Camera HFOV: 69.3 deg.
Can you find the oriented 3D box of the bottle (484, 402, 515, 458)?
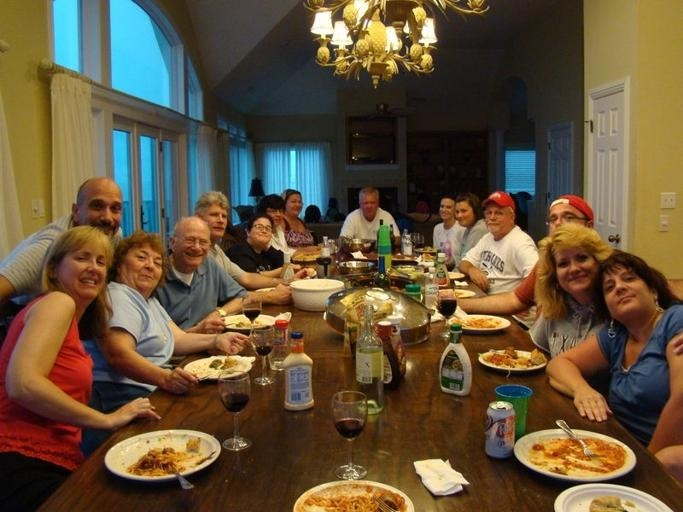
[{"bbox_3d":[0.457,0.478,1.404,0.077,0.154,0.083,-3,14,1],"label":"bottle"}]

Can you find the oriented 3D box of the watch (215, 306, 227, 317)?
[{"bbox_3d":[-0.663,0.310,2.743,0.062,0.018,0.059,33,16,38],"label":"watch"}]

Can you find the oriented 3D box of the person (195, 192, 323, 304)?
[{"bbox_3d":[-0.457,0.007,3.660,0.757,0.710,0.447,3,-1,35],"label":"person"}]

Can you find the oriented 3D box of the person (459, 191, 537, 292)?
[{"bbox_3d":[1.275,-0.077,3.922,0.425,0.843,0.783,-9,11,-34],"label":"person"}]

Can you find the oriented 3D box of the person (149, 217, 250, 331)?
[{"bbox_3d":[-0.833,0.128,2.911,0.546,0.782,0.495,-14,26,-40],"label":"person"}]

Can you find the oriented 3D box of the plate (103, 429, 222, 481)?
[{"bbox_3d":[-0.501,0.550,1.393,0.322,0.040,0.227,-1,9,2],"label":"plate"}]

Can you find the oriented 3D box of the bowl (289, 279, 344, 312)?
[{"bbox_3d":[-0.135,0.230,2.903,0.323,0.161,0.302,3,3,0],"label":"bowl"}]

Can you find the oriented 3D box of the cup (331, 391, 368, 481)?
[{"bbox_3d":[0.024,0.468,1.393,0.089,0.194,0.253,-1,9,0],"label":"cup"}]

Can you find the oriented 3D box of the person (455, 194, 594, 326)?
[{"bbox_3d":[1.134,0.061,2.932,0.909,0.554,0.559,-17,3,-10],"label":"person"}]

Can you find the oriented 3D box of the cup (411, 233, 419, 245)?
[{"bbox_3d":[0.771,-0.176,5.110,0.099,0.187,0.110,2,2,10],"label":"cup"}]

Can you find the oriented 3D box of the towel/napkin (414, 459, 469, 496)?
[{"bbox_3d":[0.263,0.572,1.305,0.113,0.029,0.130,-4,9,-18],"label":"towel/napkin"}]

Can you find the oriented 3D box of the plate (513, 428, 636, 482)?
[{"bbox_3d":[0.646,0.543,1.375,0.339,0.039,0.217,-2,9,-6],"label":"plate"}]

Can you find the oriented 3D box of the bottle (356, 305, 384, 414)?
[{"bbox_3d":[0.131,0.336,1.641,0.088,0.339,0.086,-7,-7,-1],"label":"bottle"}]

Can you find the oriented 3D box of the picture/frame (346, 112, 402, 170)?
[{"bbox_3d":[0.698,-2.590,11.248,1.159,1.093,0.458,-1,9,3],"label":"picture/frame"}]

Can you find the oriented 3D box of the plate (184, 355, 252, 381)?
[{"bbox_3d":[-0.494,0.439,1.981,0.166,0.030,0.171,-2,5,12],"label":"plate"}]
